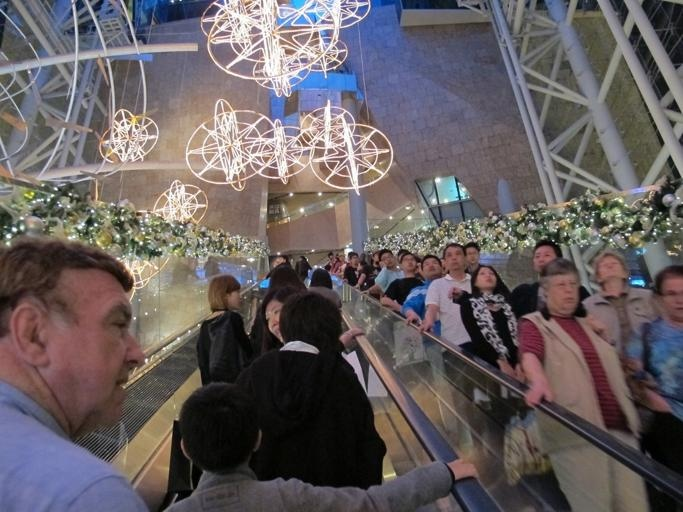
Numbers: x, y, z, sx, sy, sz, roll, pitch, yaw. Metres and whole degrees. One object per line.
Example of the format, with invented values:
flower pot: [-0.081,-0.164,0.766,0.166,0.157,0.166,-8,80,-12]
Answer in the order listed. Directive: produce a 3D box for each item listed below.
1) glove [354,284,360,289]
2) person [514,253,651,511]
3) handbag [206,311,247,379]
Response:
glove: [0.330,0.632,8.275,0.075,0.116,0.034,-4,-4,5]
person: [1.145,0.538,2.012,0.543,1.176,1.111,-8,-5,35]
handbag: [-0.930,0.720,3.187,0.324,0.436,0.237,-30,-33,17]
